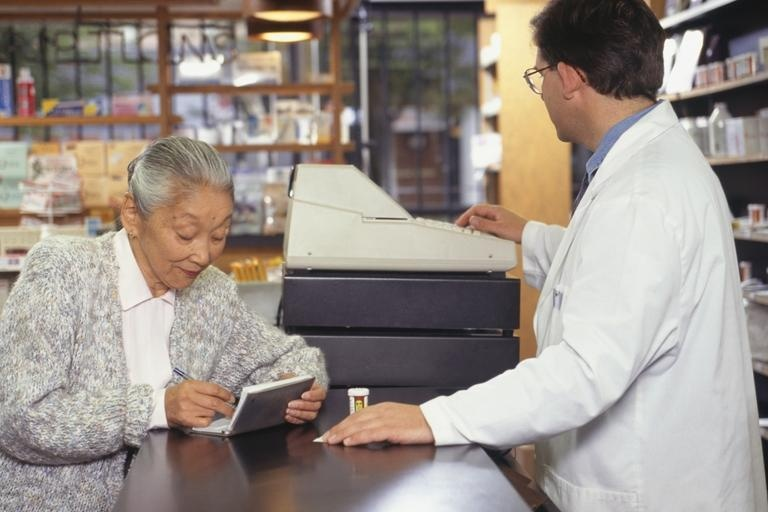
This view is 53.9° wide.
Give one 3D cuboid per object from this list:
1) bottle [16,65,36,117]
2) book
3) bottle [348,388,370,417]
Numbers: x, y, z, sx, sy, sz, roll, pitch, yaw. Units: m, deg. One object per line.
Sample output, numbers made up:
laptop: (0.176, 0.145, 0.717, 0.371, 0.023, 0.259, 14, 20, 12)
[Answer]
bottle: (-1.695, -0.772, 3.564, 0.079, 0.226, 0.074, 1, 6, 0)
book: (-0.410, 0.444, 2.389, 0.223, 0.139, 0.230, 7, 4, 37)
bottle: (-0.093, 0.478, 2.473, 0.085, 0.140, 0.088, -1, -3, 0)
